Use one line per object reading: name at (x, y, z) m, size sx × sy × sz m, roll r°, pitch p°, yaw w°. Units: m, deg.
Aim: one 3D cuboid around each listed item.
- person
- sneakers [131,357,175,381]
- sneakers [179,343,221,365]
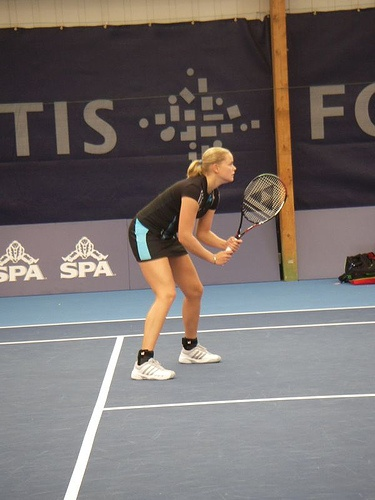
person at (-0.031, 0.082, 2.847) m, size 0.609 × 1.273 × 0.434 m, roll -2°, pitch 9°, yaw -7°
sneakers at (-0.190, 0.650, 2.784) m, size 0.234 × 0.113 × 0.101 m, roll 0°, pitch -3°, yaw 8°
sneakers at (0.077, 0.641, 3.133) m, size 0.255 × 0.122 × 0.101 m, roll 0°, pitch -5°, yaw 7°
